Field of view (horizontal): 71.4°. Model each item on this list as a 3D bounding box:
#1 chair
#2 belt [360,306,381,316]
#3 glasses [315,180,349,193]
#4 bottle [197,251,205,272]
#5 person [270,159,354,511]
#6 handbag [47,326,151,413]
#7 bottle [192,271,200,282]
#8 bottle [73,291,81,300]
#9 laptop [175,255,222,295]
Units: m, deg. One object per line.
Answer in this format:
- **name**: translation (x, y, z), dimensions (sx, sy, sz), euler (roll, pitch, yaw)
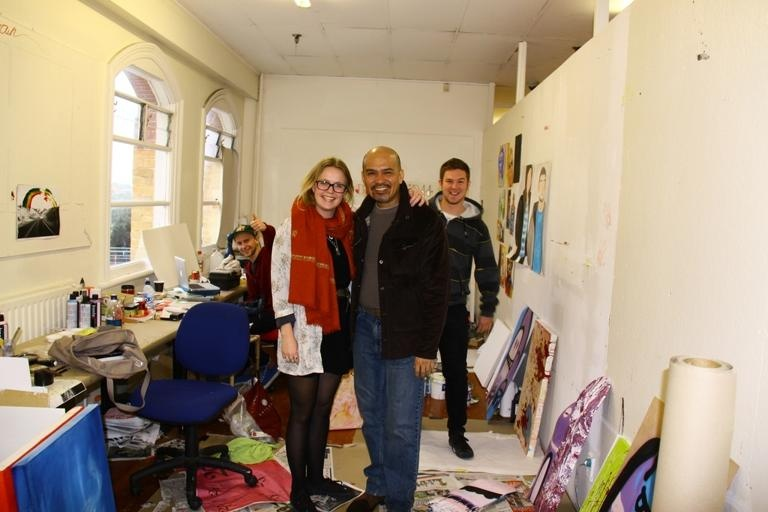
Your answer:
- **chair**: translation (-1.252, 0.965, 3.713), dimensions (0.808, 1.250, 0.734), euler (2, 1, -3)
- **belt**: translation (-0.071, 0.328, 3.187), dimensions (0.093, 0.053, 0.022), euler (11, 4, 17)
- **glasses**: translation (-0.313, -0.411, 3.177), dimensions (0.179, 0.072, 0.049), euler (2, 1, -6)
- **bottle**: translation (-2.170, 0.056, 6.340), dimensions (0.051, 0.213, 0.150), euler (1, 3, -13)
- **person**: translation (-0.427, 0.473, 3.203), dimensions (0.489, 2.114, 0.266), euler (1, 1, -16)
- **handbag**: translation (-1.763, 0.616, 3.443), dimensions (0.524, 0.218, 0.419), euler (-3, 17, 12)
- **bottle**: translation (-1.916, 0.209, 5.467), dimensions (0.096, 0.112, 0.097), euler (0, -2, -17)
- **bottle**: translation (-2.357, 0.299, 4.110), dimensions (0.046, 0.063, 0.067), euler (5, 12, -1)
- **laptop**: translation (-1.824, 0.203, 5.269), dimensions (0.319, 0.387, 0.564), euler (-4, 5, -30)
